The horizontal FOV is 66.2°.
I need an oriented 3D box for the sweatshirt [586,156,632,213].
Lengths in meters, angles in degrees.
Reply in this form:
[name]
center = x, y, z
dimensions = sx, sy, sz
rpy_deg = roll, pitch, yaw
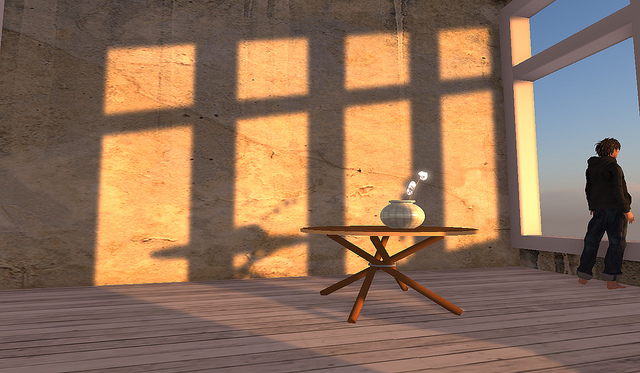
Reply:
[sweatshirt]
center = 3.275, -0.031, 5.549
dimensions = 0.318, 0.618, 0.539
rpy_deg = -5, 14, -13

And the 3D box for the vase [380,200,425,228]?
[vase]
center = 0.782, 0.255, 4.872
dimensions = 0.464, 0.208, 0.416
rpy_deg = 0, 4, -33

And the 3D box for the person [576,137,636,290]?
[person]
center = 3.255, 0.285, 5.515
dimensions = 0.519, 1.645, 0.829
rpy_deg = 5, 17, 25

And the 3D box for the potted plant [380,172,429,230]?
[potted plant]
center = 0.802, 0.126, 4.871
dimensions = 0.533, 0.478, 0.473
rpy_deg = 0, 7, 28
